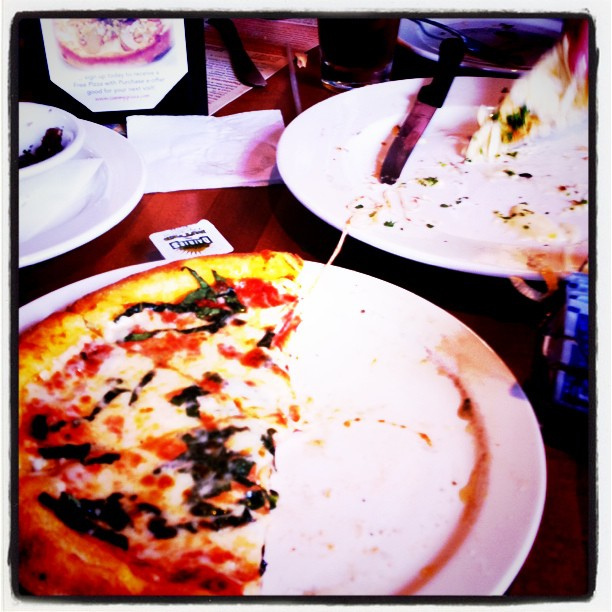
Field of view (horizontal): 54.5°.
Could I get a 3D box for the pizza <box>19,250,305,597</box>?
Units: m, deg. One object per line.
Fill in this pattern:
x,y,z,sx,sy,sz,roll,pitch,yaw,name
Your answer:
-0.144,0.104,0.574,0.276,0.152,0.325,7,56,1,pizza

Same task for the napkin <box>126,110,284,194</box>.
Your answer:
-0.106,-0.170,0.639,0.162,0.029,0.099,-6,56,-8,napkin

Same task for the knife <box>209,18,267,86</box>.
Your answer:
-0.078,-0.288,0.676,0.028,0.005,0.098,-38,85,-14,knife
